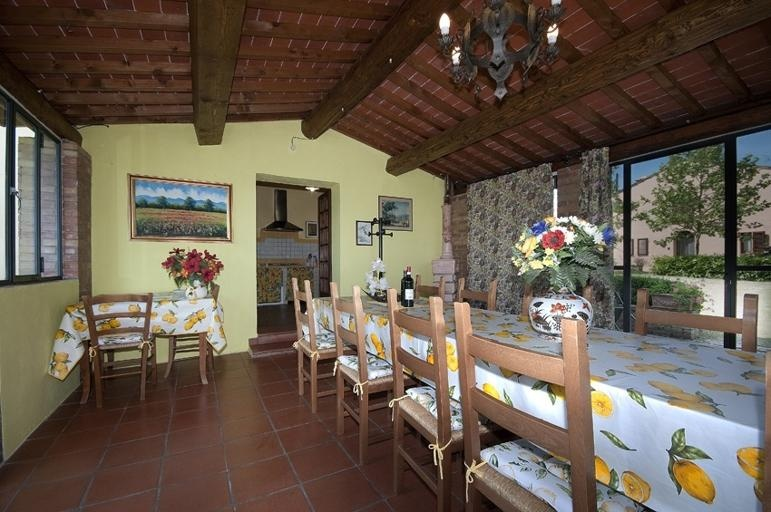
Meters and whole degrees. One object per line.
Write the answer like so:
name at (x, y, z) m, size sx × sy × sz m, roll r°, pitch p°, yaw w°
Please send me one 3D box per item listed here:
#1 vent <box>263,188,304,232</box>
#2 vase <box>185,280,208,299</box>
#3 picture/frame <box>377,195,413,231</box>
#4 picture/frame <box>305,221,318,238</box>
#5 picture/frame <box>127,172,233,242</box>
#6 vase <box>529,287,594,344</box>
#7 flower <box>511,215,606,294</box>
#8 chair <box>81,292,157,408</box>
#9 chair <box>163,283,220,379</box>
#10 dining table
vent at (-2.595, -1.148, 11.858) m, size 0.972 × 1.119 × 0.970 m, roll 0°, pitch 1°, yaw -26°
vase at (-2.197, 0.372, 5.437) m, size 0.209 × 0.205 × 0.207 m, roll -1°, pitch 2°, yaw -37°
picture/frame at (0.122, -0.705, 7.606) m, size 0.684 × 0.590 × 0.048 m, roll 5°, pitch -7°, yaw -36°
picture/frame at (-1.934, -0.683, 12.112) m, size 0.433 × 0.516 × 0.037 m, roll 11°, pitch -22°, yaw -35°
picture/frame at (-2.766, -0.639, 6.143) m, size 0.936 × 0.661 × 0.039 m, roll 1°, pitch -3°, yaw -31°
vase at (1.433, 0.471, 3.870) m, size 0.462 × 0.391 × 0.551 m, roll -2°, pitch 2°, yaw -41°
flower at (1.375, 0.023, 3.899) m, size 0.683 × 0.575 × 0.701 m, roll 1°, pitch -26°, yaw 46°
chair at (-2.922, 0.976, 5.204) m, size 0.667 × 1.068 × 1.124 m, roll -2°, pitch -1°, yaw -29°
chair at (-2.442, 1.126, 5.791) m, size 0.477 × 0.413 × 0.820 m, roll -3°, pitch 28°, yaw -41°
dining table at (-2.720, 0.786, 5.082) m, size 1.327 × 0.844 × 1.168 m, roll 0°, pitch 3°, yaw -38°
